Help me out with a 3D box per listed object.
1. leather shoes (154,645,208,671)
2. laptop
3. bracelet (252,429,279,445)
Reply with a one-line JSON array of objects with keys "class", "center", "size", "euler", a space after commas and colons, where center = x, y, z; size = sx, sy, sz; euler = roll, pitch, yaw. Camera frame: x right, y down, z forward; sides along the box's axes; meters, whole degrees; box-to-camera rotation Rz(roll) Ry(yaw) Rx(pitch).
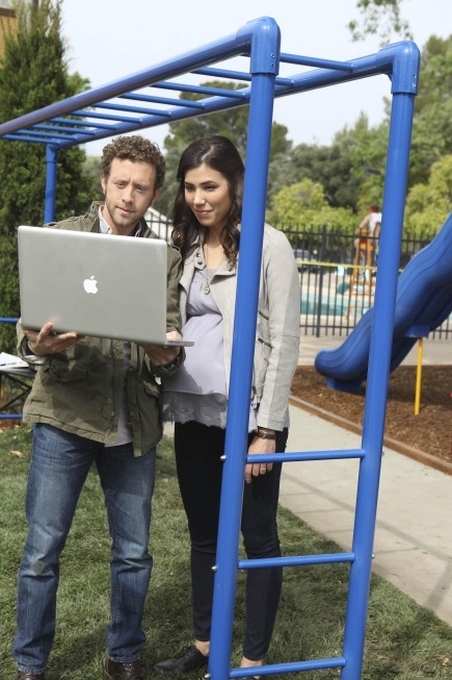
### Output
[{"class": "leather shoes", "center": [-0.166, 1.154, 2.187], "size": [0.204, 0.090, 0.079], "euler": [1, -6, -8]}, {"class": "laptop", "center": [-0.408, -0.087, 1.626], "size": [0.430, 0.287, 0.335], "euler": [8, -24, -41]}, {"class": "bracelet", "center": [0.115, 0.280, 1.769], "size": [0.063, 0.042, 0.050], "euler": [7, 8, 3]}]
